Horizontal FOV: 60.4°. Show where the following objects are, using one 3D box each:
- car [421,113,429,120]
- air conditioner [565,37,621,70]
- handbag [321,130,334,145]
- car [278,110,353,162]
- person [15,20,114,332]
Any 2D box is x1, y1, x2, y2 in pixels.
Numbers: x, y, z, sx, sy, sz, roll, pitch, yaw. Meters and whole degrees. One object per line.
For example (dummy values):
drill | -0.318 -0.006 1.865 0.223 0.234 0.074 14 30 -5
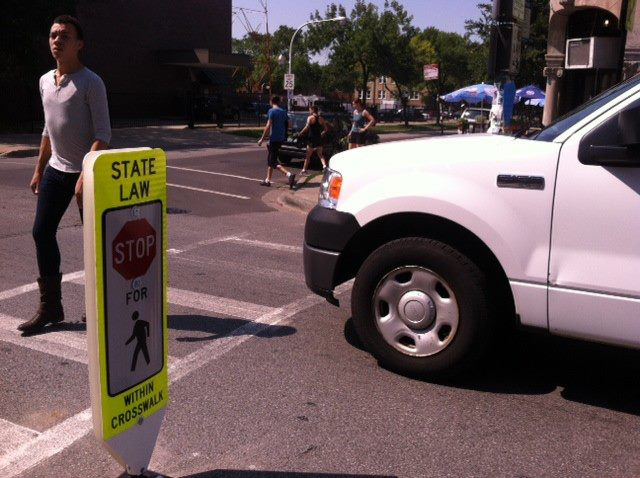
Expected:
car | 16.536 -19.541 87.103 1.368 1.405 3.523 1 8 10
air conditioner | 9.119 -6.255 18.430 1.653 1.026 1.132 8 13 27
handbag | 0.228 -3.636 19.490 0.147 0.651 0.537 3 5 26
car | -0.126 -3.759 19.664 1.190 1.388 2.899 5 26 27
person | -2.157 -0.490 4.646 0.797 2.591 0.338 3 9 12
